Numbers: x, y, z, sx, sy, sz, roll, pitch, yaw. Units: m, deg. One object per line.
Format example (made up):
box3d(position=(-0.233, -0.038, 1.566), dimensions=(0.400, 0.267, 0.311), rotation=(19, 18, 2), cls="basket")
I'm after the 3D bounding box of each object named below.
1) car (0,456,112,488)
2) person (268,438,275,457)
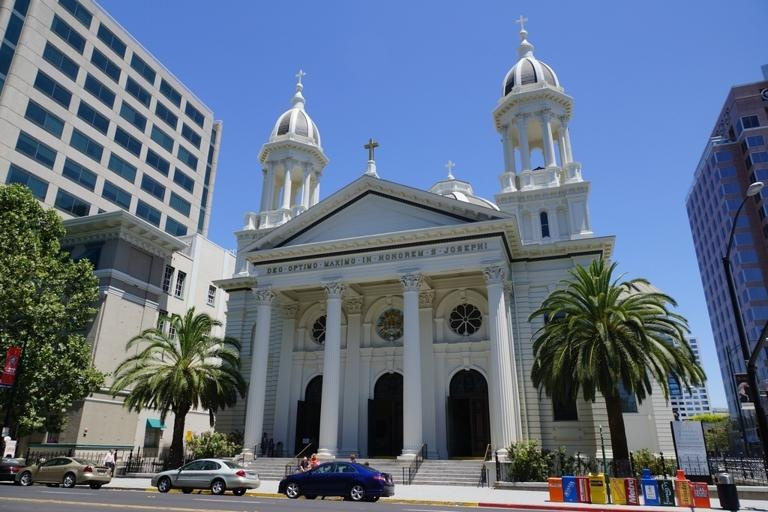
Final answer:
box3d(position=(-19.171, 12.590, 29.997), dimensions=(6.242, 1.699, 1.606), rotation=(-5, -24, 12), cls="car")
box3d(position=(-8.530, 14.429, 38.993), dimensions=(0.596, 1.364, 1.719), rotation=(5, -24, -11), cls="person")
